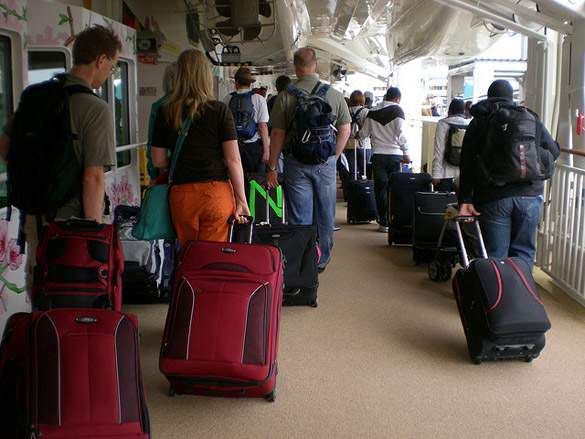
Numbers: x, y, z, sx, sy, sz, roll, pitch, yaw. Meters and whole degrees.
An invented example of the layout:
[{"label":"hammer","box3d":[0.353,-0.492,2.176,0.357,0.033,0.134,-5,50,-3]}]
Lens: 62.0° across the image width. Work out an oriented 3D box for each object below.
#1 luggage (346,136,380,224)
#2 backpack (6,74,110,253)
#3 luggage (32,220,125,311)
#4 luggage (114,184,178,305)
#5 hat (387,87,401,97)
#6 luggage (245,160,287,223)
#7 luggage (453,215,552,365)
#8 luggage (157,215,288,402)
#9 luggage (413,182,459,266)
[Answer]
[{"label":"luggage","box3d":[1.149,-0.618,7.742,0.383,1.209,0.415,1,6,-8]},{"label":"backpack","box3d":[-1.463,-0.436,2.952,0.497,0.862,0.234,2,13,9]},{"label":"luggage","box3d":[-1.210,0.264,2.752,0.378,0.579,0.291,2,-26,-8]},{"label":"luggage","box3d":[-1.263,0.387,4.684,0.549,1.007,0.946,1,1,-2]},{"label":"hat","box3d":[1.445,-1.833,6.994,0.191,0.145,0.296,4,15,14]},{"label":"luggage","box3d":[-0.326,-0.308,5.537,0.562,0.959,0.501,0,9,8]},{"label":"luggage","box3d":[1.436,0.518,3.577,0.408,0.965,0.337,-3,-34,-5]},{"label":"luggage","box3d":[-0.422,0.664,3.002,0.705,0.957,0.548,-1,14,-2]},{"label":"luggage","box3d":[1.642,0.143,5.637,0.522,0.897,0.465,1,-24,15]}]
